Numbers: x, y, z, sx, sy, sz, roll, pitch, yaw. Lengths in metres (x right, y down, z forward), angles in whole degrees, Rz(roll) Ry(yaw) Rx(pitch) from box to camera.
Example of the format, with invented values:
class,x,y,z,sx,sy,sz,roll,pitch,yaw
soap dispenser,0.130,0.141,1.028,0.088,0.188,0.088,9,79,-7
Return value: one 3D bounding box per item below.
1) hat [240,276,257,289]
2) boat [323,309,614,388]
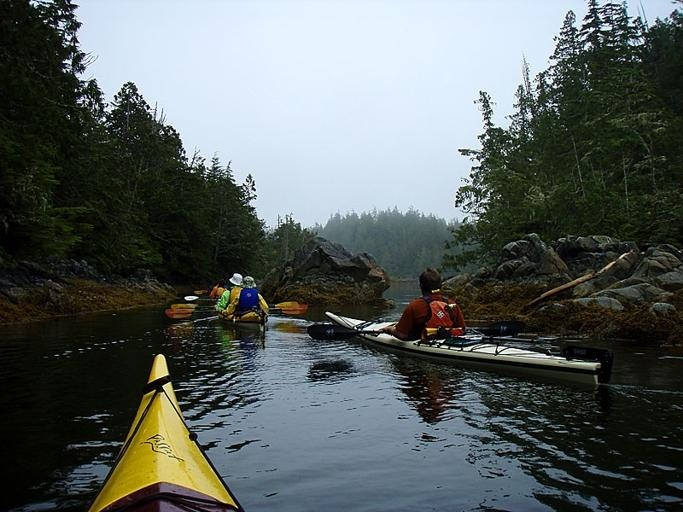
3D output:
class,x,y,z,sx,sy,sz,roll,pitch,yaw
hat,-3.736,1.030,17.232,0.751,0.376,0.675,0,-1,11
boat,3.293,2.394,11.162,1.383,0.749,7.423,-5,7,-41
